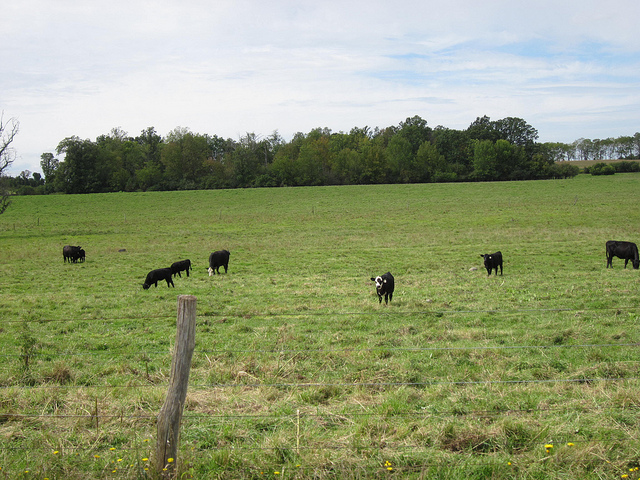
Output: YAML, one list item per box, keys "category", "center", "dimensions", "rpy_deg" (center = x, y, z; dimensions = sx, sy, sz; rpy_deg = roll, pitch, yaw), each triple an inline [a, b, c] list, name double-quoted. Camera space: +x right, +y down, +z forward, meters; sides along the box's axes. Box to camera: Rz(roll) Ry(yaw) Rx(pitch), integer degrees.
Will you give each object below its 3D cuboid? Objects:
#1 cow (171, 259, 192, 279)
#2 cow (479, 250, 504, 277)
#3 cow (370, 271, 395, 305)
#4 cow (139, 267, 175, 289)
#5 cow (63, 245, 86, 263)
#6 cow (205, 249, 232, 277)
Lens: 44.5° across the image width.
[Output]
- category: "cow"
  center: [-6.325, 1.268, 35.613]
  dimensions: [0.783, 0.767, 1.470]
  rpy_deg: [-4, 10, -7]
- category: "cow"
  center: [7.386, 1.051, 33.297]
  dimensions: [0.747, 0.984, 1.677]
  rpy_deg: [0, 10, 13]
- category: "cow"
  center: [2.261, 1.702, 27.265]
  dimensions: [0.607, 1.003, 0.926]
  rpy_deg: [-2, 10, 3]
- category: "cow"
  center: [-6.725, 1.583, 32.564]
  dimensions: [1.227, 0.781, 1.752]
  rpy_deg: [-5, 10, -10]
- category: "cow"
  center: [-12.665, 0.710, 40.239]
  dimensions: [1.241, 0.861, 0.858]
  rpy_deg: [4, 12, 32]
- category: "cow"
  center: [-4.671, 1.023, 35.877]
  dimensions: [0.823, 0.958, 2.192]
  rpy_deg: [-2, 10, 5]
